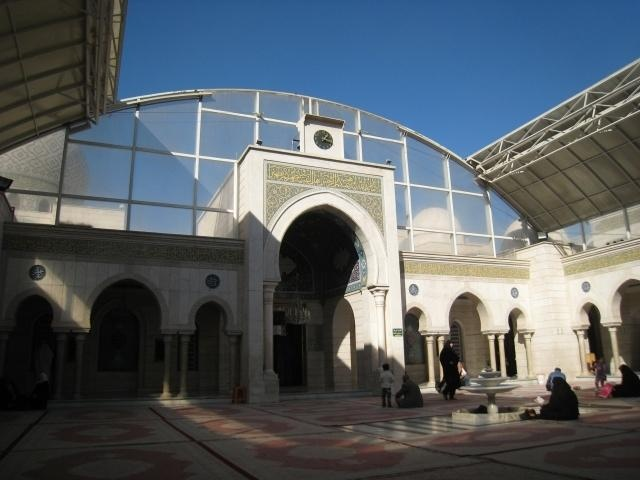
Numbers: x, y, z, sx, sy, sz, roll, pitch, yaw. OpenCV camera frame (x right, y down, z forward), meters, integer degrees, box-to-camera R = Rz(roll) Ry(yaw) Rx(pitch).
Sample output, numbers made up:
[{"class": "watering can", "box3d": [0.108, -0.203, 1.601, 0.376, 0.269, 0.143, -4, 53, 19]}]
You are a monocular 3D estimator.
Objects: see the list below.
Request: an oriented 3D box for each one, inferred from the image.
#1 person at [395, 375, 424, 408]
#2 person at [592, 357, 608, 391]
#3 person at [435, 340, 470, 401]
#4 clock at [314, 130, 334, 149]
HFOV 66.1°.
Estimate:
[{"class": "person", "box3d": [1.930, 3.346, 10.882, 0.604, 0.671, 0.575, 1, -16, -8]}, {"class": "person", "box3d": [7.672, 3.662, 13.466, 0.331, 0.813, 1.568, -9, -17, 27]}, {"class": "person", "box3d": [3.363, 3.349, 12.749, 0.606, 1.427, 2.253, -5, -15, 14]}, {"class": "clock", "box3d": [0.104, -3.094, 15.077, 0.729, 0.642, 0.048, 2, -14, -35]}]
